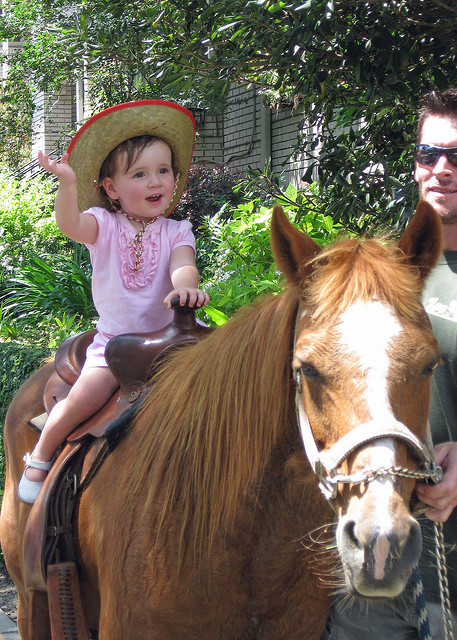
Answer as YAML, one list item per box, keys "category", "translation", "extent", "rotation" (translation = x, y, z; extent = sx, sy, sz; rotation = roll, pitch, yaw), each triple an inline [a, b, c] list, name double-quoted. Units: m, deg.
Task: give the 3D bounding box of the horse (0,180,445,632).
- category: "horse"
  translation: [-0.008, 0.339, 1.706]
  extent: [1.189, 1.232, 0.556]
  rotation: [4, 12, 37]
